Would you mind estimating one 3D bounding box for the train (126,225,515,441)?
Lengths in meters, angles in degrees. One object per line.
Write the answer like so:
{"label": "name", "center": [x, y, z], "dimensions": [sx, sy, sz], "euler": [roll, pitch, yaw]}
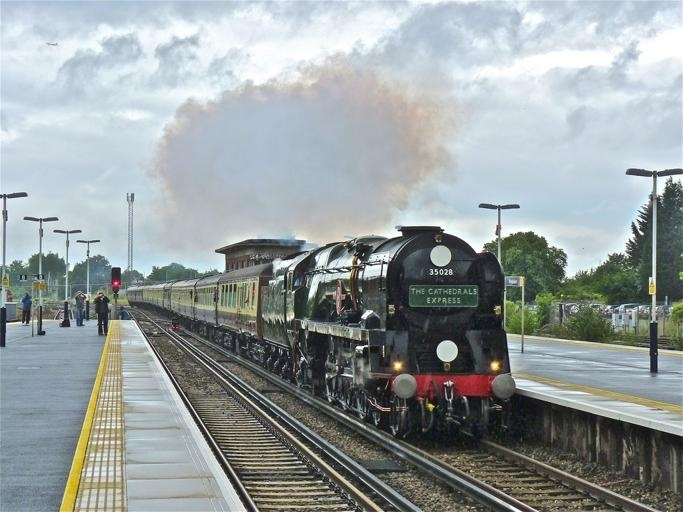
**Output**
{"label": "train", "center": [-3.547, 1.438, 27.313], "dimensions": [2.742, 3.554, 30.862], "euler": [5, -4, -22]}
